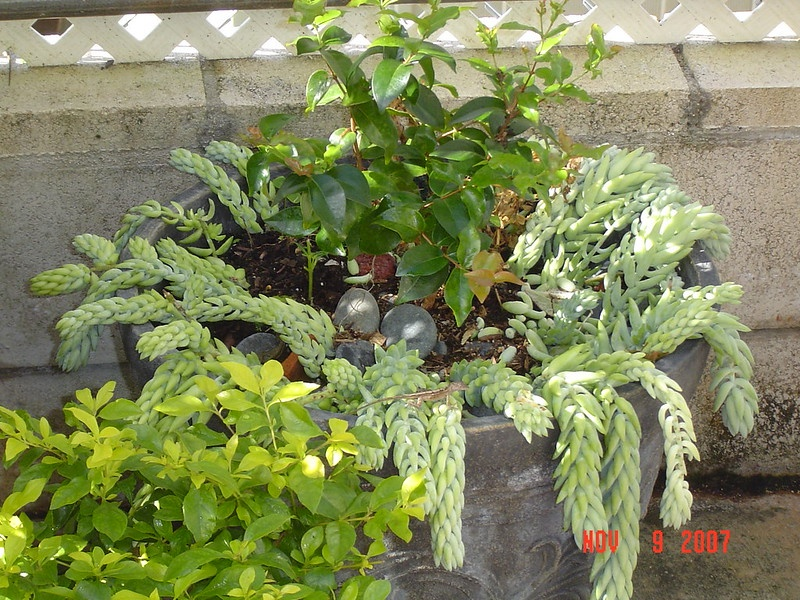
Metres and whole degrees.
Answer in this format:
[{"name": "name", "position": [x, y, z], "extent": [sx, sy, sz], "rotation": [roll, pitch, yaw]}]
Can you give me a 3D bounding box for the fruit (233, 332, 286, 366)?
[{"name": "fruit", "position": [-0.281, 0.103, 1.589], "extent": [0.100, 0.057, 0.168], "rotation": [-4, 20, -12]}]
